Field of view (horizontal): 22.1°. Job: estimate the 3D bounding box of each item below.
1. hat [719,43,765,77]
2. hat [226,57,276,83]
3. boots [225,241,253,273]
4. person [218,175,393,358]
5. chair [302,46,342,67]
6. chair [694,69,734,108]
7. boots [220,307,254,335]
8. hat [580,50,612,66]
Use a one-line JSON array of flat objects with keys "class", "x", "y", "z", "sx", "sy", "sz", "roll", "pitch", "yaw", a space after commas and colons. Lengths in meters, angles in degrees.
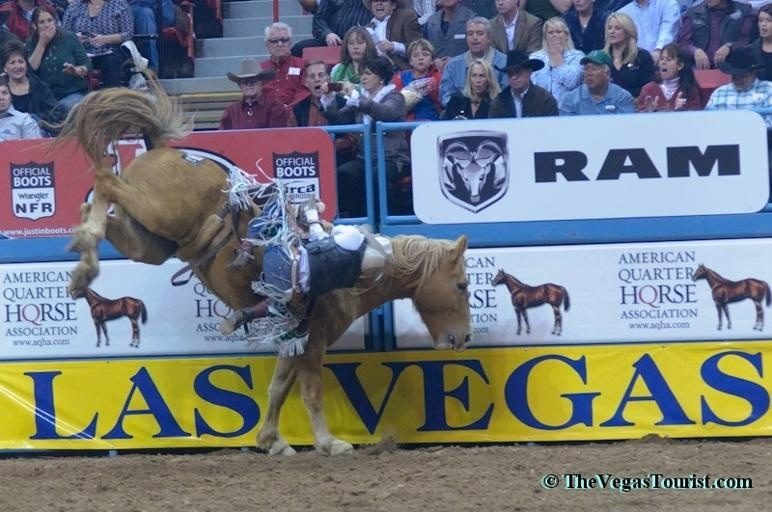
[{"class": "hat", "x": 3.773, "y": -2.035, "z": 20.727, "sx": 0.365, "sy": 0.168, "sz": 0.435, "roll": 4, "pitch": 22, "yaw": 19}, {"class": "hat", "x": -1.444, "y": -2.027, "z": 21.352, "sx": 0.442, "sy": 0.200, "sz": 0.503, "roll": -4, "pitch": -8, "yaw": 2}, {"class": "boots", "x": -1.355, "y": -0.014, "z": 18.574, "sx": 0.130, "sy": 0.235, "sz": 0.403, "roll": 31, "pitch": 3, "yaw": 0}, {"class": "person", "x": -0.807, "y": 0.057, "z": 18.707, "sx": 1.518, "sy": 1.798, "sz": 0.520, "roll": -1, "pitch": 4, "yaw": -3}, {"class": "chair", "x": -0.720, "y": -2.149, "z": 22.008, "sx": 0.395, "sy": 0.360, "sz": 0.261, "roll": 2, "pitch": 25, "yaw": 1}, {"class": "chair", "x": 3.498, "y": -1.835, "z": 21.421, "sx": 0.382, "sy": 0.506, "sz": 0.417, "roll": 4, "pitch": 9, "yaw": 17}, {"class": "boots", "x": -1.418, "y": 0.609, "z": 18.700, "sx": 0.326, "sy": 0.179, "sz": 0.129, "roll": -39, "pitch": 19, "yaw": -2}, {"class": "hat", "x": 2.211, "y": -2.094, "z": 20.677, "sx": 0.237, "sy": 0.105, "sz": 0.165, "roll": 3, "pitch": 0, "yaw": -42}]
